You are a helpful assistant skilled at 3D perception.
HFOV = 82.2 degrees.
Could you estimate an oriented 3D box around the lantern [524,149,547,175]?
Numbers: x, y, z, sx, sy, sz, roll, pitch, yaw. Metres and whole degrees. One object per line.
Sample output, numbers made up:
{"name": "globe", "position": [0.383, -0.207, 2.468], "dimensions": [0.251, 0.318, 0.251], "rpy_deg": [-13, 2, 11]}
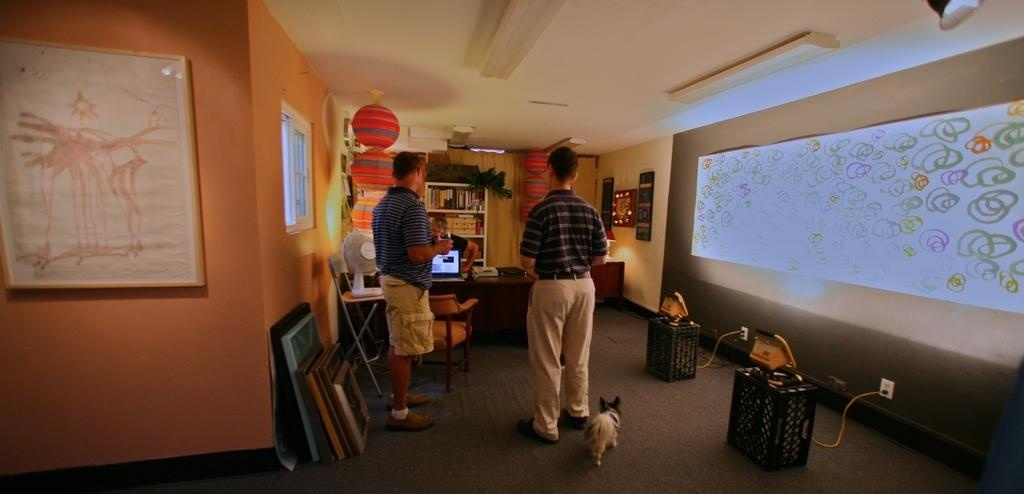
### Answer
{"name": "lantern", "position": [0.440, -1.552, 10.657], "dimensions": [0.510, 0.489, 0.470], "rpy_deg": [-1, 7, -5]}

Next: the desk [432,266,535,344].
{"name": "desk", "position": [-0.346, 0.803, 8.940], "dimensions": [1.991, 0.785, 0.980], "rpy_deg": [0, 13, -5]}

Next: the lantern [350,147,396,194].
{"name": "lantern", "position": [-1.832, -1.069, 8.115], "dimensions": [0.665, 0.489, 0.600], "rpy_deg": [2, 7, 2]}

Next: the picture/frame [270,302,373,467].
{"name": "picture/frame", "position": [-2.263, 1.628, 6.870], "dimensions": [1.029, 1.766, 0.546], "rpy_deg": [0, 5, -11]}

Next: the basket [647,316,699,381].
{"name": "basket", "position": [2.172, 1.371, 8.432], "dimensions": [0.896, 1.048, 0.831], "rpy_deg": [2, 5, 17]}

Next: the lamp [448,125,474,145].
{"name": "lamp", "position": [-0.899, -1.941, 10.186], "dimensions": [0.370, 0.174, 1.374], "rpy_deg": [0, 4, -10]}

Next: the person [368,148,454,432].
{"name": "person", "position": [-1.248, 0.529, 7.038], "dimensions": [0.813, 3.340, 0.453], "rpy_deg": [0, 5, -8]}

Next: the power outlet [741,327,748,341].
{"name": "power outlet", "position": [3.271, 1.225, 8.292], "dimensions": [0.019, 0.198, 0.113], "rpy_deg": [-4, 6, -45]}

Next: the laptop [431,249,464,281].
{"name": "laptop", "position": [-0.884, 0.284, 8.521], "dimensions": [0.611, 0.460, 0.419], "rpy_deg": [1, -2, -10]}

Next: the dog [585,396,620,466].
{"name": "dog", "position": [1.065, 2.141, 6.863], "dimensions": [0.326, 0.723, 0.503], "rpy_deg": [3, 5, 22]}

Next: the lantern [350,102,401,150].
{"name": "lantern", "position": [-1.803, -1.616, 7.805], "dimensions": [0.680, 0.634, 0.623], "rpy_deg": [-3, 11, -17]}
